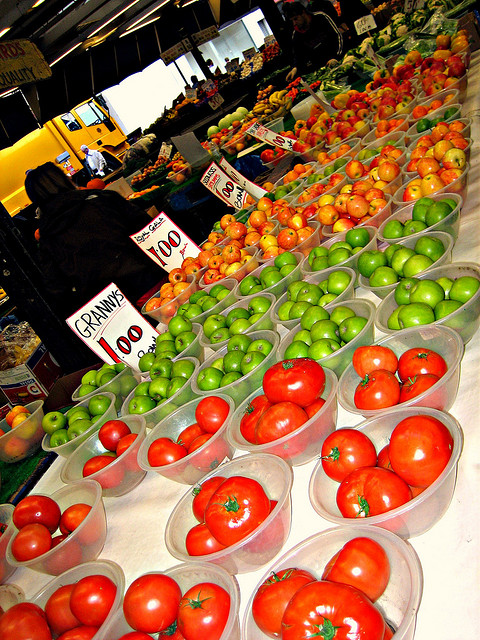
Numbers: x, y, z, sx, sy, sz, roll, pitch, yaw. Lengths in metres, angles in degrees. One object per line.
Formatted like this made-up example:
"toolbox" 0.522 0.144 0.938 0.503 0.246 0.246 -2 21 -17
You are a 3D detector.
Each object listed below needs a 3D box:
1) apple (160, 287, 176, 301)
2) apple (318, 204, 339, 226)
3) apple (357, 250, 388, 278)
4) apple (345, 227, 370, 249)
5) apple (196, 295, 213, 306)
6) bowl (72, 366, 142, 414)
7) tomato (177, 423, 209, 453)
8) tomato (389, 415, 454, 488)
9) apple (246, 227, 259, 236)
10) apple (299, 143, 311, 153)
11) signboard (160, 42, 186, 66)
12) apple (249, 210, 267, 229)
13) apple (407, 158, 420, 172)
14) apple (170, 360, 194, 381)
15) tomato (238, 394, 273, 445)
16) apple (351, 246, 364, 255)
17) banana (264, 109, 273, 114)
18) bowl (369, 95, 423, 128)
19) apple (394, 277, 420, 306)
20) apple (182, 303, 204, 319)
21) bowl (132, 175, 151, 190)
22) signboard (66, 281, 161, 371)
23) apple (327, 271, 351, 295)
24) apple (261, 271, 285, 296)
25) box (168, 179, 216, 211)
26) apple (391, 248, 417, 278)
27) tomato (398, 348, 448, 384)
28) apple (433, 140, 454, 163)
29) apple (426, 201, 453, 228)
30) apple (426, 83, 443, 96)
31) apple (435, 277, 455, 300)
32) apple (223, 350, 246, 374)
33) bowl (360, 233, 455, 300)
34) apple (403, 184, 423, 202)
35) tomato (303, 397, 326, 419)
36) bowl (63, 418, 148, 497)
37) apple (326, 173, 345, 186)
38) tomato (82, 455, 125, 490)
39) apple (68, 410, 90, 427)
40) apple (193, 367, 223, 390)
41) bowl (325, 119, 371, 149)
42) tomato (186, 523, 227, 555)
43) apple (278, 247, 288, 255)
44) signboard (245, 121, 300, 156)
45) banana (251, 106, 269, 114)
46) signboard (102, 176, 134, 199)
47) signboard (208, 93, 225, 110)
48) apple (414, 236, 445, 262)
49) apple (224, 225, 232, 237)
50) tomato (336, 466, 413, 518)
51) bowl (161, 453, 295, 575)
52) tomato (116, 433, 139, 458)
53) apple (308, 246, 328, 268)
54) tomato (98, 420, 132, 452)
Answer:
"apple" -0.462 -0.178 2.615 0.087 0.084 0.085 1 -10 10
"apple" 0.468 -0.566 2.240 0.101 0.105 0.118 -32 -6 12
"apple" 0.503 -0.224 1.595 0.106 0.097 0.104 4 10 8
"apple" 0.517 -0.372 1.802 0.090 0.104 0.087 -20 12 -19
"apple" -0.192 -0.116 2.257 0.063 0.062 0.066 14 1 9
"bowl" -0.692 0.314 2.145 0.274 0.119 0.272 -31 14 9
"tomato" -0.157 0.407 1.406 0.080 0.077 0.093 -5 42 -11
"tomato" 0.373 0.279 0.882 0.146 0.151 0.159 3 -2 36
"apple" 0.082 -0.621 2.742 0.065 0.074 0.063 9 -6 -29
"apple" 0.549 -1.508 3.550 0.099 0.094 0.089 -5 45 -13
"signboard" -1.566 -6.456 9.672 0.586 0.277 0.590 -29 21 11
"apple" 0.121 -0.693 2.782 0.128 0.121 0.117 3 -7 5
"apple" 0.888 -0.819 2.125 0.066 0.041 0.079 -5 29 47
"apple" -0.244 0.214 1.759 0.077 0.081 0.094 -36 -5 -10
"tomato" 0.032 0.298 1.235 0.111 0.109 0.111 -29 -1 -6
"apple" 0.507 -0.310 1.781 0.039 0.045 0.038 0 12 2
"banana" 0.402 -3.046 5.824 0.057 0.091 0.051 -49 38 35
"bowl" 1.180 -1.683 3.114 0.325 0.120 0.323 -33 23 16
"apple" 0.535 -0.086 1.339 0.085 0.085 0.087 -5 25 28
"apple" -0.256 -0.044 2.249 0.086 0.107 0.086 -2 71 67
"bowl" -1.634 -2.341 6.844 0.260 0.099 0.244 -32 20 13
"signboard" -0.644 0.066 2.183 0.314 0.452 0.134 -41 21 -18
"apple" 0.382 -0.152 1.593 0.092 0.084 0.104 -17 11 18
"apple" 0.163 -0.185 2.023 0.109 0.110 0.132 -7 8 44
"box" -0.522 -1.363 4.587 0.458 0.149 0.306 -30 59 4
"apple" 0.585 -0.219 1.546 0.098 0.113 0.101 -12 14 -43
"tomato" 0.440 0.113 1.032 0.095 0.090 0.091 -8 -14 -5
"apple" 0.950 -0.820 1.943 0.091 0.104 0.089 -15 27 -11
"apple" 0.742 -0.411 1.528 0.105 0.063 0.093 -31 21 5
"apple" 1.392 -1.694 2.954 0.089 0.086 0.089 -3 2 -1
"apple" 0.617 -0.098 1.238 0.068 0.078 0.067 -2 6 7
"apple" -0.023 0.169 1.635 0.083 0.097 0.085 -18 -20 14
"bowl" 0.597 -0.178 1.381 0.268 0.107 0.266 -30 26 16
"apple" 0.777 -0.591 1.868 0.073 0.068 0.071 -6 10 -8
"tomato" 0.202 0.244 1.119 0.046 0.044 0.054 -6 36 5
"bowl" -0.519 0.538 1.631 0.327 0.167 0.324 -37 11 8
"apple" 0.584 -0.882 2.502 0.097 0.056 0.075 -41 38 7
"tomato" -0.501 0.562 1.527 0.132 0.095 0.136 -10 -16 -8
"apple" -0.755 0.467 1.922 0.063 0.077 0.068 -18 0 32
"apple" -0.120 0.225 1.624 0.082 0.080 0.099 -15 -13 26
"bowl" 0.868 -1.483 3.265 0.275 0.110 0.274 -32 30 21
"tomato" -0.089 0.552 1.030 0.077 0.071 0.075 1 12 5
"apple" 0.242 -0.396 2.259 0.046 0.044 0.053 -5 -4 -19
"signboard" 0.314 -1.685 3.706 0.327 0.417 0.364 -27 22 18
"banana" 0.288 -3.130 5.955 0.163 0.041 0.080 -16 48 28
"signboard" -1.554 -1.758 5.342 0.230 0.224 0.633 -35 20 -2
"signboard" -0.474 -4.301 7.896 0.316 0.152 0.265 -20 24 30
"apple" 0.636 -0.251 1.412 0.092 0.089 0.091 3 10 10
"apple" -0.096 -0.655 2.977 0.039 0.048 0.095 -4 73 36
"tomato" 0.285 0.362 0.847 0.098 0.089 0.090 24 75 35
"bowl" -0.063 0.451 1.044 0.295 0.157 0.301 -39 5 4
"tomato" -0.418 0.482 1.534 0.073 0.070 0.084 18 56 2
"apple" 0.362 -0.315 1.979 0.095 0.091 0.099 18 25 36
"tomato" -0.509 0.474 1.658 0.126 0.127 0.121 -3 -15 6
